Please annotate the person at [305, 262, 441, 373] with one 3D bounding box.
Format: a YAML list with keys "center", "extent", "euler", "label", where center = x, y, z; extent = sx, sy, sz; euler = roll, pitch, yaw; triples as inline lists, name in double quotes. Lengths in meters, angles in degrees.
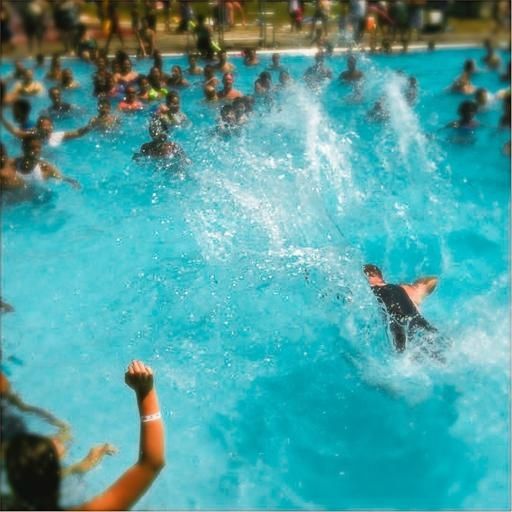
- center: [1.626, 0.704, 6.686]
  extent: [0.916, 0.271, 0.916]
  euler: [-30, 57, -7]
  label: "person"

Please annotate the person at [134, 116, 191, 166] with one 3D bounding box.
- center: [-1.361, -1.642, 8.641]
  extent: [0.752, 0.622, 0.368]
  euler: [-11, 40, -15]
  label: "person"
